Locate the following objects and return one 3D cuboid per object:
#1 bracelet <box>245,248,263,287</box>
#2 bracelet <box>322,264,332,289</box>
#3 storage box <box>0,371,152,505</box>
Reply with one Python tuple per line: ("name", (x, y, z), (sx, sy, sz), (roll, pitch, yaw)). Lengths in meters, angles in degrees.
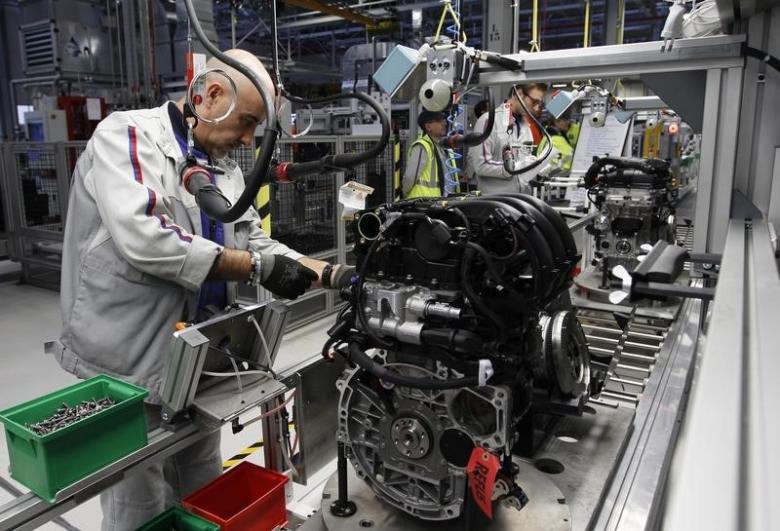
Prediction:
("bracelet", (-0.541, 0.009, 2.063), (0.055, 0.122, 0.093), (2, 3, -12))
("bracelet", (-0.267, 0.049, 2.158), (0.028, 0.080, 0.058), (1, 5, -8))
("storage box", (-1.042, 0.528, 1.652), (0.373, 0.223, 0.356), (12, 20, 34))
